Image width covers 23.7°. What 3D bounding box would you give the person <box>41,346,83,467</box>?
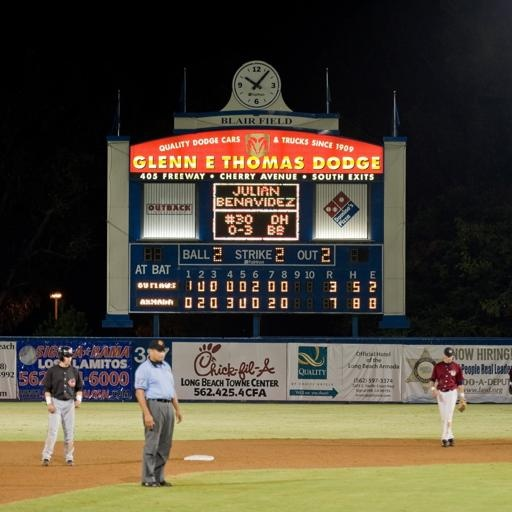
[{"bbox_3d":[-3.271,2.537,20.867,0.701,1.947,0.519,-1,2,-27],"label":"person"}]

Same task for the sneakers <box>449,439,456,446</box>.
[{"bbox_3d":[3.688,3.475,23.027,0.097,0.191,0.174,-2,-2,9],"label":"sneakers"}]

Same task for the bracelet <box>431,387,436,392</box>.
[{"bbox_3d":[3.241,2.387,22.273,0.068,0.084,0.076,-2,0,-17],"label":"bracelet"}]

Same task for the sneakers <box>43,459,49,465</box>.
[{"bbox_3d":[-3.535,3.445,20.774,0.111,0.125,0.272,0,1,-11],"label":"sneakers"}]

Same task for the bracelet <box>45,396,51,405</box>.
[{"bbox_3d":[-3.464,2.386,20.643,0.091,0.149,0.168,0,1,-10],"label":"bracelet"}]

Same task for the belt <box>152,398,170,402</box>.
[{"bbox_3d":[-1.423,2.174,18.644,0.257,0.065,0.020,0,2,-24],"label":"belt"}]

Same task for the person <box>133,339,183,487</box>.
[{"bbox_3d":[-1.478,2.391,18.736,0.684,2.235,0.674,0,1,-7],"label":"person"}]

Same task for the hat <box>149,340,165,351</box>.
[{"bbox_3d":[-1.516,1.366,18.770,0.210,0.143,0.160,-7,-1,22],"label":"hat"}]
